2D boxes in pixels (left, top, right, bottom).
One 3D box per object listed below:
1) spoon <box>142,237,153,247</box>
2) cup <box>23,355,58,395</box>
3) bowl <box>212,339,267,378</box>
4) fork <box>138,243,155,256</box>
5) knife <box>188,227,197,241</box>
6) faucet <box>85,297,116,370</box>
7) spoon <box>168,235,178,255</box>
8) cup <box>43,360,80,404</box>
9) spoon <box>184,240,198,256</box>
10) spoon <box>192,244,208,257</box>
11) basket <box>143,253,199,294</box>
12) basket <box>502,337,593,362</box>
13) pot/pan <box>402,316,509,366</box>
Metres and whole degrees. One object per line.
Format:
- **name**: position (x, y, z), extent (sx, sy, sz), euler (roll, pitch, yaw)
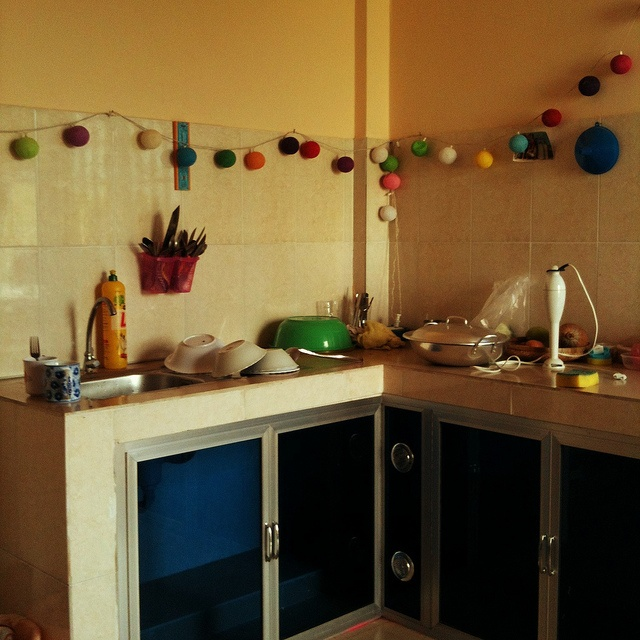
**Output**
- **spoon**: position (-0.553, -0.254, 2.137), extent (0.022, 0.010, 0.036), euler (-25, -40, 18)
- **cup**: position (-0.725, 0.135, 1.712), extent (0.097, 0.107, 0.106), euler (3, 7, 0)
- **bowl**: position (-0.241, 0.118, 2.003), extent (0.160, 0.107, 0.113), euler (-1, 4, -4)
- **fork**: position (-0.554, -0.223, 2.136), extent (0.047, 0.032, 0.013), euler (12, 23, 29)
- **knife**: position (-0.442, -0.305, 2.307), extent (0.015, 0.063, 0.016), euler (23, -13, -24)
- **faucet**: position (-0.686, 0.044, 2.049), extent (0.100, 0.232, 0.156), euler (-3, 5, -36)
- **spoon**: position (-0.484, -0.251, 2.192), extent (0.009, 0.065, 0.019), euler (-8, 32, -29)
- **cup**: position (-0.630, 0.156, 1.624), extent (0.093, 0.095, 0.091), euler (1, -1, 0)
- **spoon**: position (-0.423, -0.240, 2.208), extent (0.023, 0.066, 0.022), euler (8, 1, -6)
- **spoon**: position (-0.400, -0.238, 2.246), extent (0.054, 0.029, 0.015), euler (-30, 27, -7)
- **basket**: position (-0.502, -0.158, 2.208), extent (0.167, 0.139, 0.110), euler (-3, 5, -39)
- **basket**: position (0.732, 0.102, 2.185), extent (0.271, 0.067, 0.165), euler (3, 4, 43)
- **pot/pan**: position (0.456, 0.037, 2.083), extent (0.186, 0.084, 0.204), euler (-2, 3, -29)
